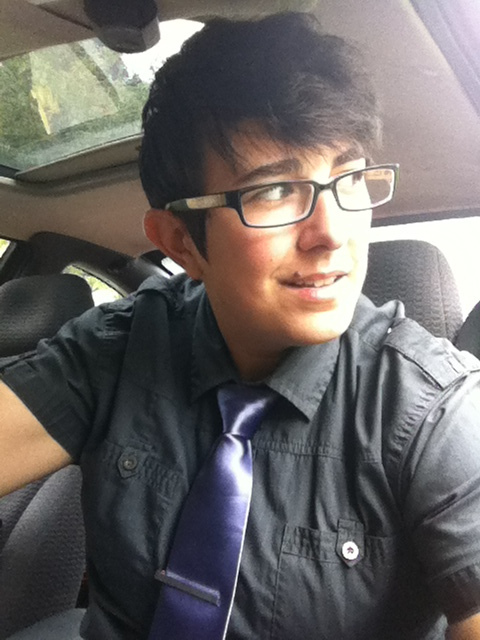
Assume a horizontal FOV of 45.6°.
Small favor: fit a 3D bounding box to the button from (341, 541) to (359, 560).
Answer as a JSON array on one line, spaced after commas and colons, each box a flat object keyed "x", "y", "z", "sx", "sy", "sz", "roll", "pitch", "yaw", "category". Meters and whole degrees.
[{"x": 0.174, "y": 0.362, "z": 0.902, "sx": 0.026, "sy": 0.014, "sz": 0.024, "roll": 2, "pitch": 41, "yaw": 2, "category": "button"}]

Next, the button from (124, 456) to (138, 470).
[{"x": -0.206, "y": 0.265, "z": 1.065, "sx": 0.021, "sy": 0.008, "sz": 0.023, "roll": -2, "pitch": 74, "yaw": 9, "category": "button"}]
